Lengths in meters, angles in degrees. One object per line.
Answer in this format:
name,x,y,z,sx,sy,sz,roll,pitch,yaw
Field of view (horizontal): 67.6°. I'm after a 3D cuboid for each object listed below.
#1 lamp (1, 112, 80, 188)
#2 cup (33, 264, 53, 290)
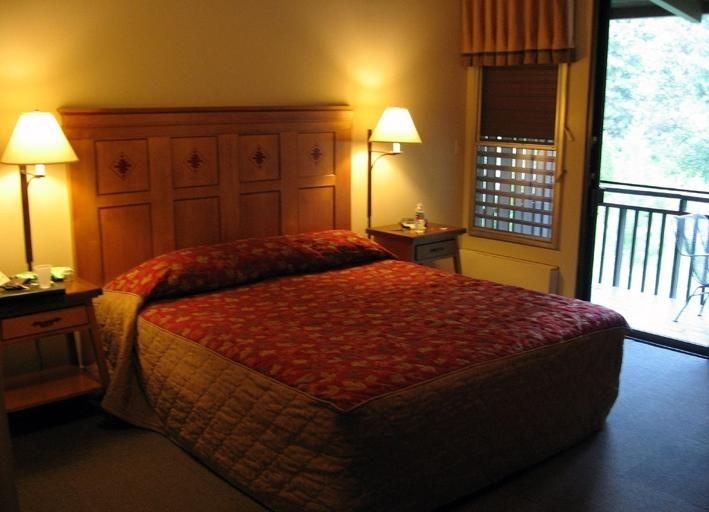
lamp,-1.738,-0.643,3.147,0.495,0.368,0.418,-2,13,-8
cup,-1.777,0.115,3.031,0.074,0.120,0.185,-10,15,-31
